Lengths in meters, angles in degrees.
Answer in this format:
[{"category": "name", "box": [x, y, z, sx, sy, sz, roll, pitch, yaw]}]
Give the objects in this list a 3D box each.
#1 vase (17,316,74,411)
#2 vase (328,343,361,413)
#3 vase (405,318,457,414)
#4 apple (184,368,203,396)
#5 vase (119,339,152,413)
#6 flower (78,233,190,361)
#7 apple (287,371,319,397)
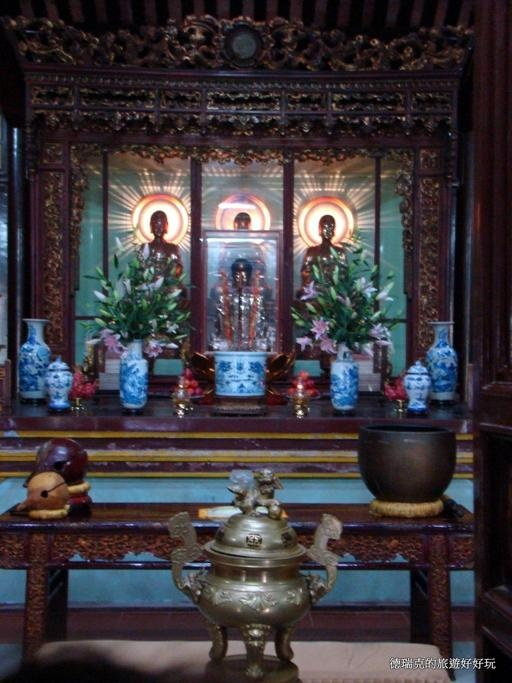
[{"category": "vase", "box": [-0.948, 0.094, 2.919, 0.219, 0.380, 0.744, -2, 5, -20]}, {"category": "vase", "box": [0.375, 0.146, 2.735, 0.105, 0.273, 0.221, 1, 5, 5]}, {"category": "vase", "box": [0.821, 0.109, 2.999, 0.211, 0.393, 0.794, 2, 5, 17]}, {"category": "apple", "box": [-0.317, 0.195, 3.172, 0.079, 0.126, 0.049, -8, -20, -44]}, {"category": "vase", "box": [-0.509, 0.136, 2.728, 0.106, 0.287, 0.244, -1, 5, -9]}, {"category": "flower", "box": [-0.516, -0.112, 2.823, 0.353, 0.315, 0.324, -9, -6, -32]}, {"category": "apple", "box": [0.221, 0.199, 2.932, 0.168, 0.130, 0.149, -2, -16, 8]}]
